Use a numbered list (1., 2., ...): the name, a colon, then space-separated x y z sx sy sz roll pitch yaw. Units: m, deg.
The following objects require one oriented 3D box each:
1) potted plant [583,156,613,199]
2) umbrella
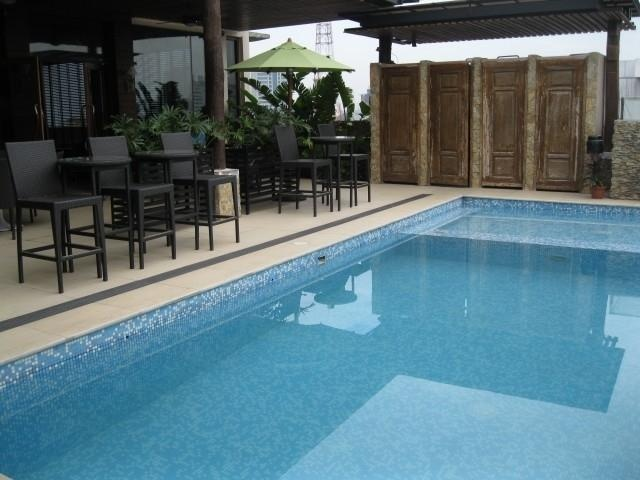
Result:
1. potted plant: 5.301 -1.060 9.528 0.458 0.516 0.375 4 -3 -17
2. umbrella: -0.647 -3.097 9.724 1.877 1.257 1.867 9 20 34
